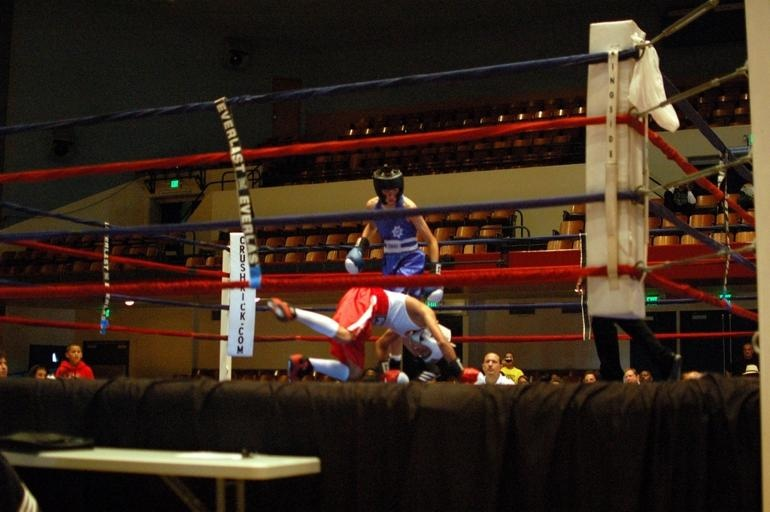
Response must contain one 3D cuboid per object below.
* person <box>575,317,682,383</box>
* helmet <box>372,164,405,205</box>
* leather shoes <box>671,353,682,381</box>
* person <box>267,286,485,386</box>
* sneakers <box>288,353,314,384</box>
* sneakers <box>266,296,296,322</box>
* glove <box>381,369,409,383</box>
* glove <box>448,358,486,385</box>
[{"bbox_3d":[2.057,0.751,6.919,0.453,0.507,1.377,0,-1,-2],"label":"person"},{"bbox_3d":[0.031,-0.448,5.275,0.202,0.240,0.247,-7,23,-5],"label":"helmet"},{"bbox_3d":[1.605,0.612,4.628,0.062,0.136,0.257,-6,8,18],"label":"leather shoes"},{"bbox_3d":[-0.082,0.485,5.023,1.394,0.568,0.557,6,-19,-34],"label":"person"},{"bbox_3d":[-0.479,0.636,4.936,0.186,0.146,0.132,8,-12,-41],"label":"sneakers"},{"bbox_3d":[-0.560,0.286,4.565,0.079,0.182,0.078,-45,8,-21],"label":"sneakers"},{"bbox_3d":[0.066,0.698,4.891,0.118,0.082,0.089,4,-5,27],"label":"glove"},{"bbox_3d":[0.477,0.672,4.910,0.145,0.071,0.183,15,-5,12],"label":"glove"}]
